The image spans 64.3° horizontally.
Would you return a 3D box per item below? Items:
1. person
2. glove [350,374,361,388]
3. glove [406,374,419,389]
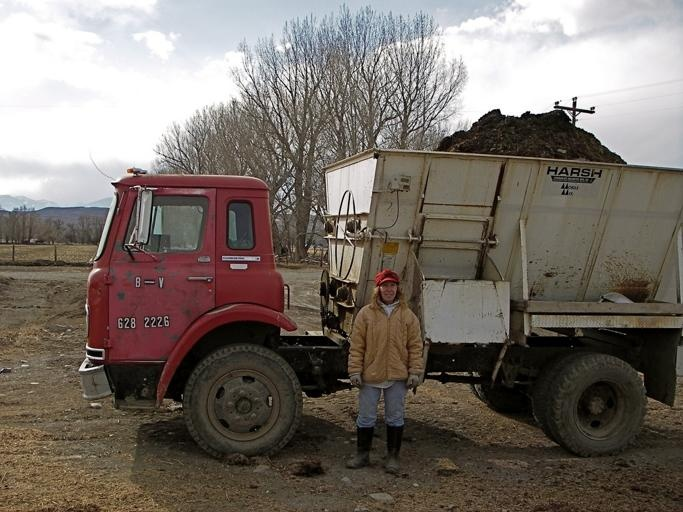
[{"bbox_3d":[0.486,1.302,6.197,0.816,2.260,0.244,2,2,0],"label":"person"},{"bbox_3d":[0.163,1.401,6.179,0.133,0.138,0.157,-5,0,12],"label":"glove"},{"bbox_3d":[0.801,1.414,6.175,0.125,0.156,0.166,-3,3,6],"label":"glove"}]
